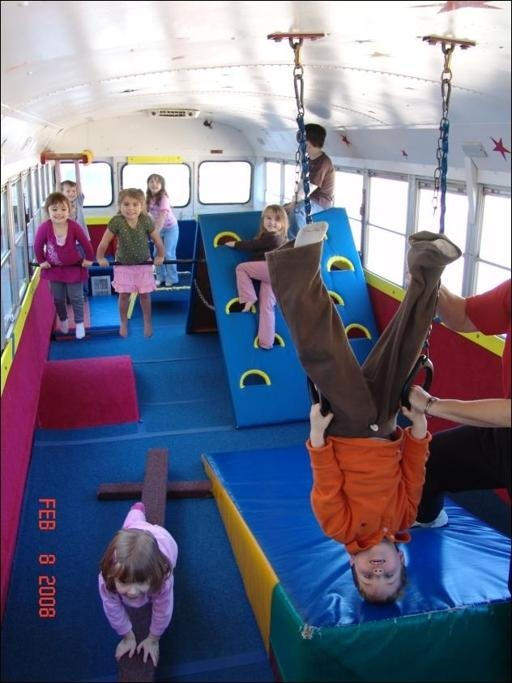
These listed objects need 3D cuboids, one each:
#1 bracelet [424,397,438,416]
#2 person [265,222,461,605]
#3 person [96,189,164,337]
[{"bbox_3d":[0.641,0.226,1.881,0.041,0.062,0.066,23,-10,32],"label":"bracelet"},{"bbox_3d":[0.395,0.351,1.951,0.637,1.628,0.364,-2,21,3],"label":"person"},{"bbox_3d":[-1.488,-0.882,6.010,0.739,1.773,1.094,0,7,-14],"label":"person"}]
